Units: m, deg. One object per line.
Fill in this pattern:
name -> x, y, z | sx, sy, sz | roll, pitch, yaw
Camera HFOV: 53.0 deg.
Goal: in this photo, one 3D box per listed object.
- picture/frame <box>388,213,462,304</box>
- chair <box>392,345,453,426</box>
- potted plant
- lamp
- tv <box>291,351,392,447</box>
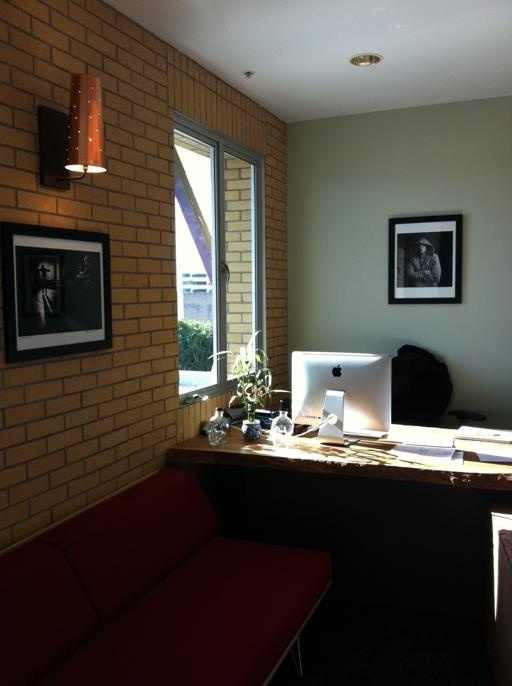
picture/frame -> 1.207, -0.607, 3.626 | 0.594, 0.799, 0.037 | 1, 2, 33
chair -> 1.110, 0.325, 3.506 | 0.402, 0.462, 0.220 | 8, 4, 15
potted plant -> -0.070, 0.241, 2.864 | 0.414, 0.628, 0.545 | 0, -1, 20
lamp -> -0.577, -0.679, 1.706 | 0.242, 0.356, 0.212 | 9, 5, 29
tv -> 0.407, 0.271, 2.450 | 0.350, 0.334, 0.168 | 4, 11, 21
